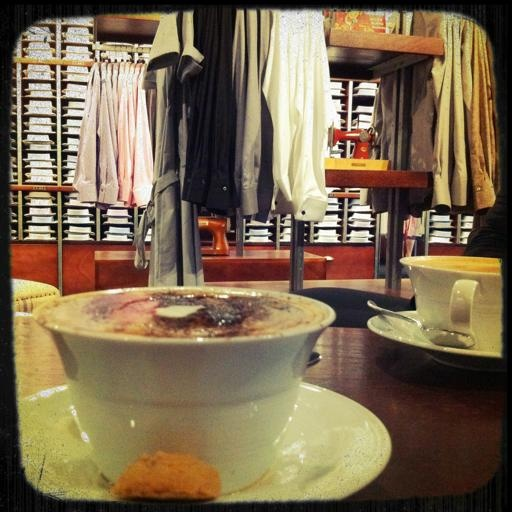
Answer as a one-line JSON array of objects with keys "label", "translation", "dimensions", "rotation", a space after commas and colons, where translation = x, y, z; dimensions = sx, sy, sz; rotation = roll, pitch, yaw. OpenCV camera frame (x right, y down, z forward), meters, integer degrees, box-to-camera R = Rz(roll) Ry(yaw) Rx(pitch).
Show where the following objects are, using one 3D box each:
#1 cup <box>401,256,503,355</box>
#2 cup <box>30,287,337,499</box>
[{"label": "cup", "translation": [0.139, 0.029, 0.377], "dimensions": [0.048, 0.062, 0.077], "rotation": [1, 0, 11]}, {"label": "cup", "translation": [-0.038, 0.040, 0.228], "dimensions": [0.087, 0.063, 0.089], "rotation": [5, 1, 0]}]
